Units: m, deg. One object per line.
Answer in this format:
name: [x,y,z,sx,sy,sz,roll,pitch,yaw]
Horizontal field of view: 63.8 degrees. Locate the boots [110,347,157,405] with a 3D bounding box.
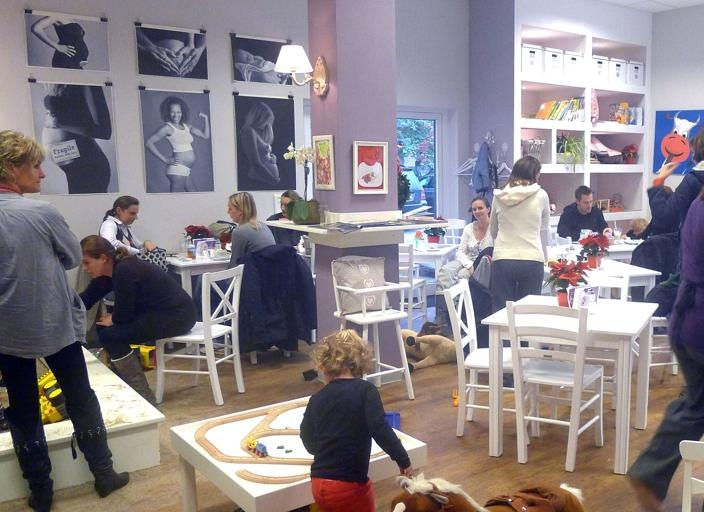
boots: [-1.593,0.933,4.224,0.189,0.179,0.533,-25,43,-17]

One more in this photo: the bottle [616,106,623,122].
bottle: [3.780,-2.007,8.030,0.075,0.239,0.099,4,3,14]

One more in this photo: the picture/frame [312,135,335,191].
picture/frame: [-0.220,-0.771,4.581,0.035,0.528,0.446,-4,5,-25]

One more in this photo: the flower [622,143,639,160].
flower: [4.047,-1.506,8.155,0.188,0.243,0.258,0,-2,1]

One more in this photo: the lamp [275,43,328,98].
lamp: [-0.441,-1.560,4.803,0.440,0.443,0.342,-1,3,36]

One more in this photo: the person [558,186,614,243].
person: [2.616,-0.366,6.366,0.537,0.815,0.467,-1,9,22]

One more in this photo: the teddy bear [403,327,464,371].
teddy bear: [0.698,0.825,4.930,0.485,0.159,0.365,20,32,36]

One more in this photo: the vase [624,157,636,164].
vase: [4.041,-1.376,8.225,0.113,0.087,0.117,1,1,44]

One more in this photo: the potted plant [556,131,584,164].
potted plant: [2.913,-1.442,7.572,0.384,0.426,0.418,3,7,30]

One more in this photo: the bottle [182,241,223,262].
bottle: [-1.514,-0.063,5.779,0.275,0.169,0.260,1,5,0]

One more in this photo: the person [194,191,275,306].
person: [-1.107,-0.076,5.438,0.799,1.156,0.466,12,27,17]

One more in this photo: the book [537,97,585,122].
book: [2.739,-1.955,7.477,0.691,0.310,0.195,-7,13,-25]

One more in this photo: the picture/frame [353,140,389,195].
picture/frame: [0.138,-0.729,4.533,0.429,0.526,0.035,-2,6,-31]

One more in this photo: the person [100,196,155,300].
person: [-2.171,-0.058,5.549,0.550,0.998,0.448,-4,-3,-9]
